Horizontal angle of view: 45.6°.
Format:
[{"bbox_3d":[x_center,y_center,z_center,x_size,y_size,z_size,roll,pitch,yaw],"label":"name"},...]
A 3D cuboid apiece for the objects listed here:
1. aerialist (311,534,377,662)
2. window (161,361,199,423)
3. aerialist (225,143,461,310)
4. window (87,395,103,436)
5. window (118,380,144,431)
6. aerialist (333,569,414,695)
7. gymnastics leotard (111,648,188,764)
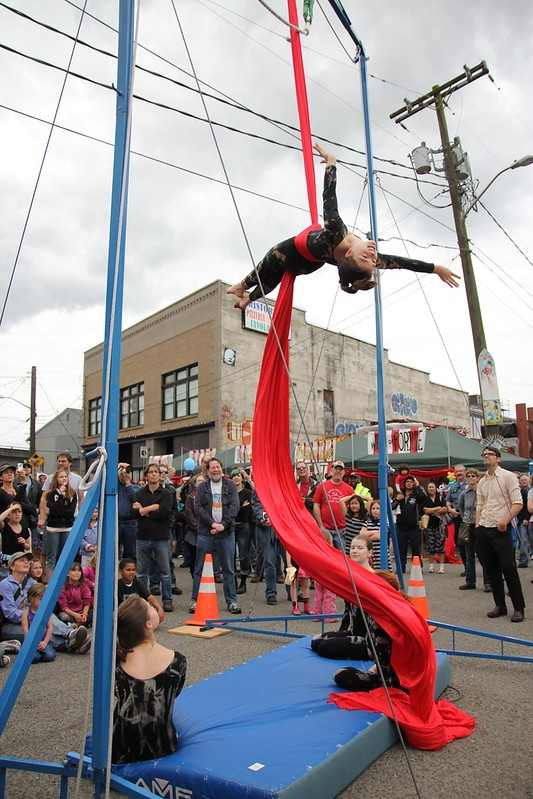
[{"bbox_3d":[0.547,1.337,4.264,0.470,0.773,0.478,20,-26,-39],"label":"aerialist"},{"bbox_3d":[-3.039,-0.235,22.604,0.161,1.734,1.898,8,-15,-36],"label":"window"},{"bbox_3d":[0.252,-0.781,3.202,1.163,0.464,0.751,2,-33,31],"label":"aerialist"},{"bbox_3d":[-6.830,0.585,25.229,0.081,1.931,1.572,7,-12,-35],"label":"window"},{"bbox_3d":[-5.031,0.250,23.924,0.168,1.663,1.698,10,-20,-36],"label":"window"},{"bbox_3d":[0.607,1.330,3.670,0.422,0.637,0.391,2,-16,0],"label":"aerialist"},{"bbox_3d":[-0.488,1.300,2.644,0.299,0.440,0.231,0,-8,-15],"label":"gymnastics leotard"}]
